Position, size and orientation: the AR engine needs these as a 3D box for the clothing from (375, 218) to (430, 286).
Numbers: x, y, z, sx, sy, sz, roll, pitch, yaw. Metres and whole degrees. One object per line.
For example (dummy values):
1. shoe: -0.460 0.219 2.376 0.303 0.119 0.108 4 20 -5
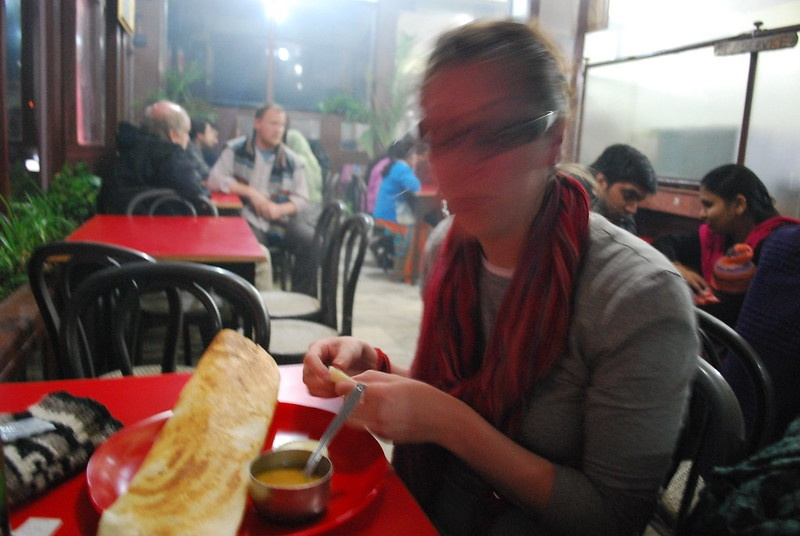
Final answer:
1. clothing: 0.022 -0.164 5.255 0.329 0.551 0.378 23 56 1

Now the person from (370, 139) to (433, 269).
1. person: 0.007 -0.501 4.631 0.443 1.270 0.414 -28 57 -23

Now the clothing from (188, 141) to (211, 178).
1. clothing: -1.489 -0.791 4.235 0.082 0.244 0.226 -24 56 4

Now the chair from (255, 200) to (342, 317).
1. chair: -0.674 -0.084 3.725 0.601 0.960 0.504 1 30 -18

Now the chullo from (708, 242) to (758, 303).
1. chullo: 1.550 0.021 2.660 0.170 0.232 0.161 -24 36 -19

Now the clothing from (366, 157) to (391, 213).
1. clothing: -0.194 -0.800 5.711 0.109 0.418 0.316 18 -3 7

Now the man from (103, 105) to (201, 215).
1. man: -1.641 -0.683 3.786 0.684 0.759 0.460 18 17 34

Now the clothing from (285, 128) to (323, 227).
1. clothing: -0.776 -0.765 4.891 0.268 0.744 0.674 -1 0 12

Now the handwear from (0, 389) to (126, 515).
1. handwear: -0.663 0.334 1.117 0.164 0.141 0.213 11 15 43

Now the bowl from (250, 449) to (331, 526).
1. bowl: -0.202 0.403 1.070 0.151 0.088 0.115 -2 11 -15

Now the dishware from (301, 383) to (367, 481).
1. dishware: -0.105 0.274 1.194 0.050 0.054 0.355 38 32 -7

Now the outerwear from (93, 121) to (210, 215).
1. outerwear: -1.666 -0.546 3.871 0.806 0.748 0.493 8 15 30

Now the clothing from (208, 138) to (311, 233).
1. clothing: -1.127 -0.626 4.463 0.734 0.850 0.487 -2 31 -30
